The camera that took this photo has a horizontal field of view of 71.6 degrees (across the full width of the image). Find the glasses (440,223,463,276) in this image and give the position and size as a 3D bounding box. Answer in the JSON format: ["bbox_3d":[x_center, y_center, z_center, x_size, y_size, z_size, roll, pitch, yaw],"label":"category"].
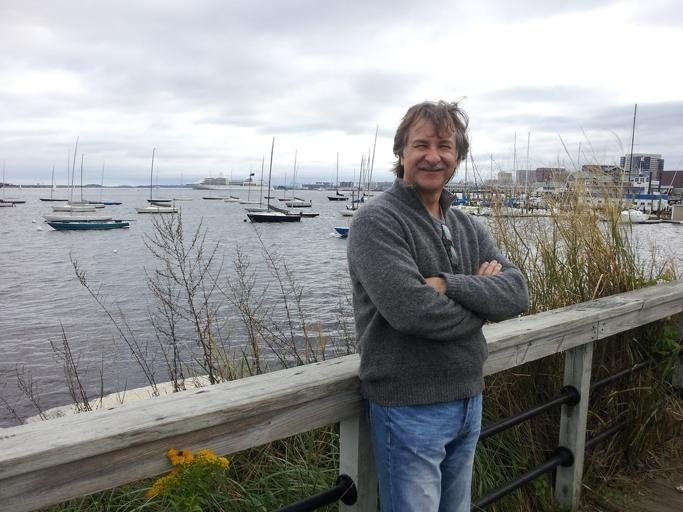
[{"bbox_3d":[0.456,-0.033,1.990,0.041,0.157,0.033,-20,-27,18],"label":"glasses"}]
